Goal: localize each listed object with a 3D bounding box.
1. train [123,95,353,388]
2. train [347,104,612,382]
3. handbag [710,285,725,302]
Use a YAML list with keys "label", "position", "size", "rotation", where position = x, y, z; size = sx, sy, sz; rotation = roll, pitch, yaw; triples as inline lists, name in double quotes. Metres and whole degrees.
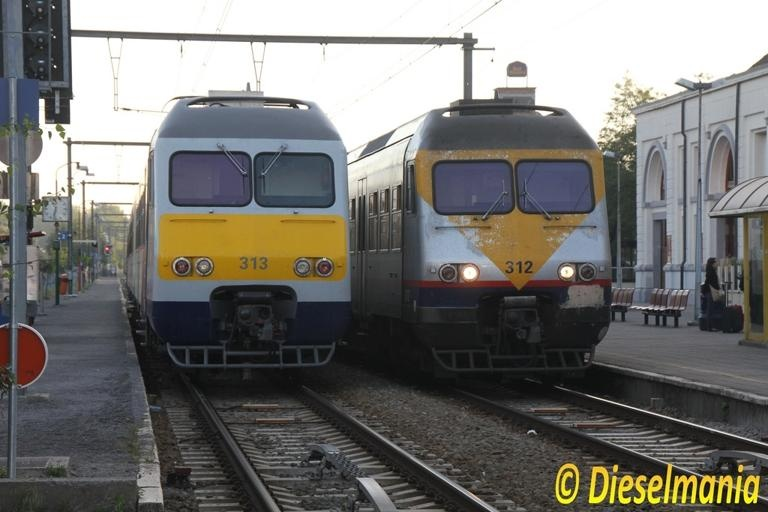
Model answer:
- label: "train"
  position: [-2.227, -0.342, 12.616]
  size: [3.167, 4.281, 1.072]
  rotation: [1, -1, 1]
- label: "train"
  position: [1.802, -0.150, 13.121]
  size: [1.979, 2.599, 5.752]
  rotation: [-1, 1, -10]
- label: "handbag"
  position: [9.879, 1.130, 22.255]
  size: [0.383, 0.157, 0.506]
  rotation: [-8, 29, 0]
